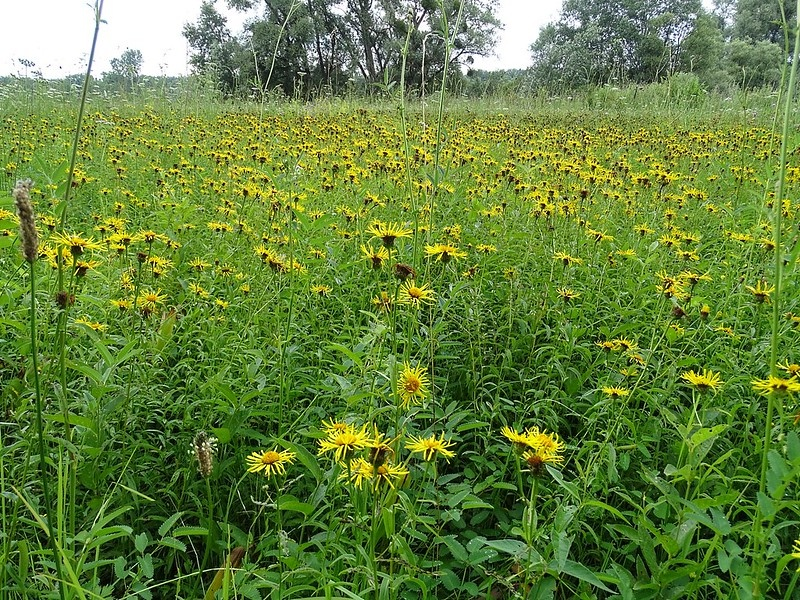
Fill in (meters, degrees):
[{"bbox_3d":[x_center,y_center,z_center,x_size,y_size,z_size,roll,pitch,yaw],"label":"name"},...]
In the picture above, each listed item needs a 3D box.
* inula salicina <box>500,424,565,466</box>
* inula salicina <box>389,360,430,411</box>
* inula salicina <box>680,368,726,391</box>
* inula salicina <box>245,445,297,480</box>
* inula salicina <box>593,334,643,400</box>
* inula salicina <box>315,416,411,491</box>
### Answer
[{"bbox_3d":[0.615,0.696,2.946,0.275,0.144,0.255,16,7,-45],"label":"inula salicina"},{"bbox_3d":[0.054,0.403,3.025,0.165,0.085,0.207,7,42,12],"label":"inula salicina"},{"bbox_3d":[1.647,0.433,3.540,0.158,0.091,0.165,-4,18,2],"label":"inula salicina"},{"bbox_3d":[-0.628,0.805,3.210,0.239,0.096,0.249,8,14,34],"label":"inula salicina"},{"bbox_3d":[1.281,0.391,3.798,0.318,0.360,0.326,3,-7,-25],"label":"inula salicina"},{"bbox_3d":[-0.172,0.671,2.913,0.342,0.231,0.396,23,12,-10],"label":"inula salicina"}]
